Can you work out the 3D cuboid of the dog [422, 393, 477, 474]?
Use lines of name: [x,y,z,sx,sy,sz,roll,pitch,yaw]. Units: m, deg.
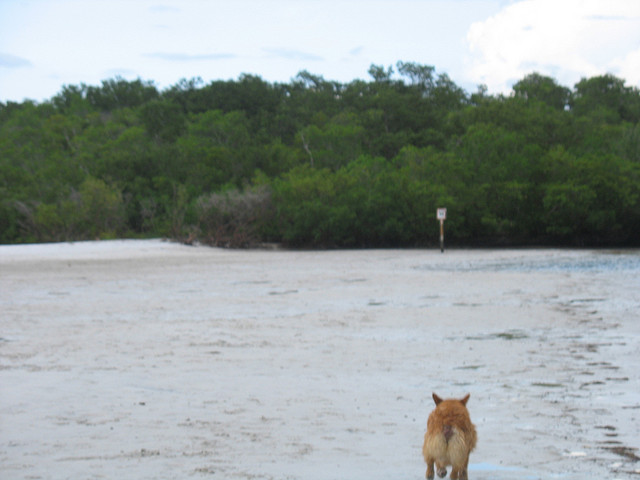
dog: [3.946,6.037,36.644,1.204,2.732,1.924,-1,4,1]
